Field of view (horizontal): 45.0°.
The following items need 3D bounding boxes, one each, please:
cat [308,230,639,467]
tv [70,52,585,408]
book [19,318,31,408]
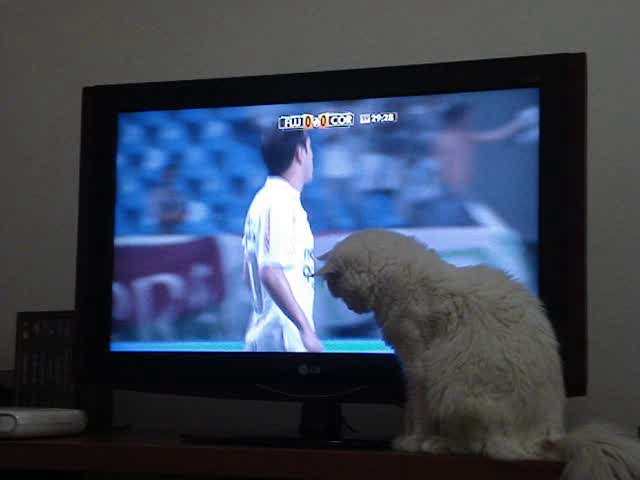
[{"bbox_3d":[0.343,0.226,1.753,0.677,0.494,0.220,-4,-1,21],"label":"cat"},{"bbox_3d":[0.040,-0.006,1.940,0.880,0.605,0.098,0,-5,12],"label":"tv"},{"bbox_3d":[-0.798,0.347,2.064,0.032,0.244,0.033,6,16,2],"label":"book"}]
